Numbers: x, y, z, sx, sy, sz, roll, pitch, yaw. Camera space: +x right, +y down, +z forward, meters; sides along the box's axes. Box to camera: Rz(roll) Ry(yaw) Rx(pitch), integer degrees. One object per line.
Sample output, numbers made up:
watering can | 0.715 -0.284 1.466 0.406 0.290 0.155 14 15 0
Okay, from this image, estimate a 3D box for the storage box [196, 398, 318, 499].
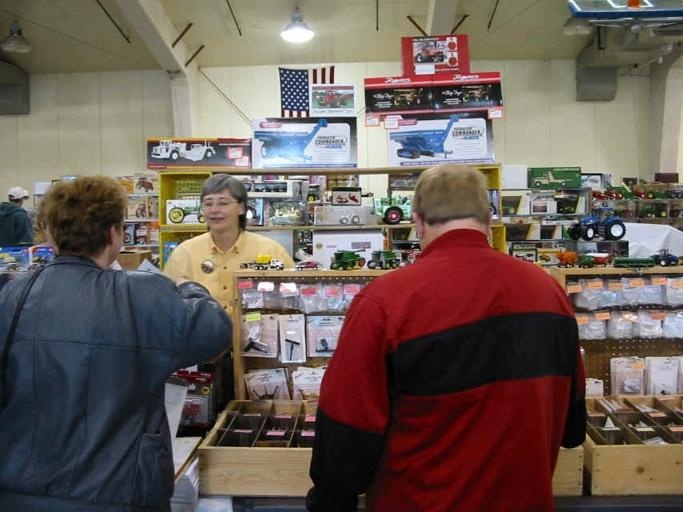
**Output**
storage box | -0.477 1.095 3.530 0.485 0.178 0.509 0 12 2
